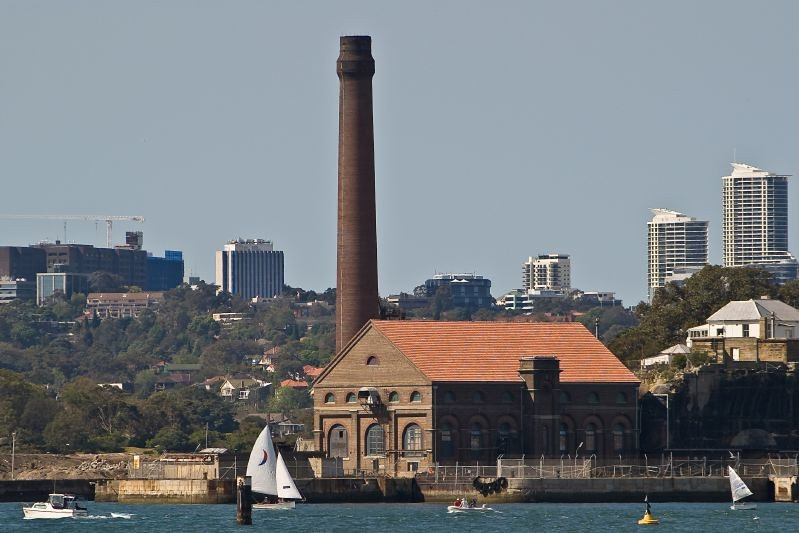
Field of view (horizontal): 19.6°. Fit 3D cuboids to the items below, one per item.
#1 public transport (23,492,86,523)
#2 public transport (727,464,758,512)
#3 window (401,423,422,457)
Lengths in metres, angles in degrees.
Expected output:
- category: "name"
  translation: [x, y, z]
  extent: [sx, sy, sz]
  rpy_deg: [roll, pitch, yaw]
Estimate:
- category: "public transport"
  translation: [-36.736, 26.349, 251.574]
  extent: [9.945, 3.877, 3.141]
  rpy_deg: [-1, -3, 25]
- category: "public transport"
  translation: [36.303, 23.713, 249.794]
  extent: [2.801, 3.893, 9.088]
  rpy_deg: [-7, 2, 7]
- category: "window"
  translation: [1.464, 19.158, 259.298]
  extent: [2.326, 2.972, 0.969]
  rpy_deg: [-6, 3, 33]
